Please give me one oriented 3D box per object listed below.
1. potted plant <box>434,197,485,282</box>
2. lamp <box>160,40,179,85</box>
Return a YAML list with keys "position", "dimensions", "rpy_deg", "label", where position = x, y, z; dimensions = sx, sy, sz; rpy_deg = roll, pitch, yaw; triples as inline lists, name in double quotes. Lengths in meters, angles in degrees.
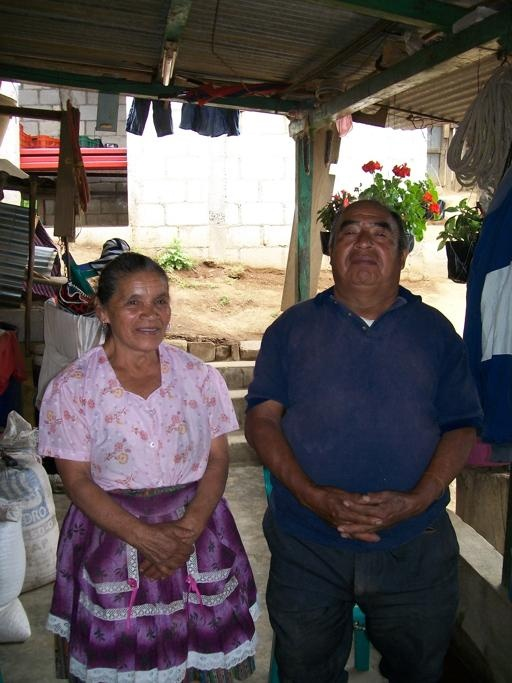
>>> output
- position: [1.038, -0.505, 2.798]
  dimensions: [0.240, 0.353, 0.205]
  rpy_deg: [-12, 9, -20]
  label: "potted plant"
- position: [-0.621, -1.949, 4.011]
  dimensions: [0.076, 0.310, 0.071]
  rpy_deg: [17, 52, -13]
  label: "lamp"
